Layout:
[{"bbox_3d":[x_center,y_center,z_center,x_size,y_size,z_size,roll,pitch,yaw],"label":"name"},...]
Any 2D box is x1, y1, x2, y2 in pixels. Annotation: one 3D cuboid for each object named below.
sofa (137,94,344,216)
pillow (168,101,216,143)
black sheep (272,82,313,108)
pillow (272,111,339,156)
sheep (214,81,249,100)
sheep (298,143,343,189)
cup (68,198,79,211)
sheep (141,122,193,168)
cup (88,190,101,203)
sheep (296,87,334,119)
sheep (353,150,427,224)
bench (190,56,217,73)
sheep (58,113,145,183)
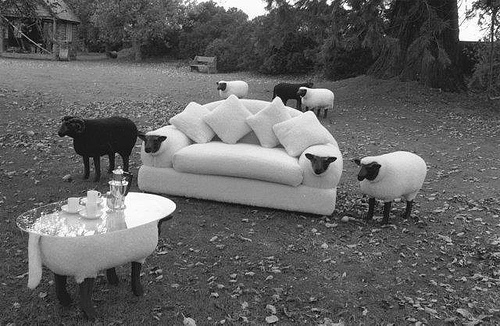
[{"bbox_3d":[-0.087,-0.236,6.920,3.158,1.506,1.608,7,19,13],"label":"sofa"},{"bbox_3d":[-0.980,-0.682,6.964,0.659,0.209,0.699,39,47,8],"label":"pillow"},{"bbox_3d":[1.218,-2.037,12.331,1.004,0.812,0.895,11,19,31],"label":"black sheep"},{"bbox_3d":[0.859,-0.492,6.606,0.844,0.258,0.805,-27,60,-11],"label":"pillow"},{"bbox_3d":[-0.545,-2.492,13.378,1.072,0.609,0.538,-9,17,-14],"label":"sheep"},{"bbox_3d":[1.097,0.055,6.265,0.671,0.575,0.733,8,15,22],"label":"sheep"},{"bbox_3d":[-1.957,0.456,4.416,0.126,0.130,0.098,5,4,10],"label":"cup"},{"bbox_3d":[-1.394,-0.385,7.081,0.776,0.517,1.442,2,14,23],"label":"sheep"},{"bbox_3d":[-1.750,0.381,4.444,0.089,0.147,0.177,-2,15,-14],"label":"cup"},{"bbox_3d":[1.957,-1.807,11.848,1.439,0.937,0.591,-8,20,-31],"label":"sheep"},{"bbox_3d":[2.135,0.357,6.188,1.324,1.000,0.686,-6,12,-36],"label":"sheep"},{"bbox_3d":[-2.682,-5.678,22.958,1.429,0.875,1.741,4,14,9],"label":"bench"},{"bbox_3d":[-2.577,-0.321,6.963,0.669,1.128,1.594,13,17,33],"label":"sheep"}]
